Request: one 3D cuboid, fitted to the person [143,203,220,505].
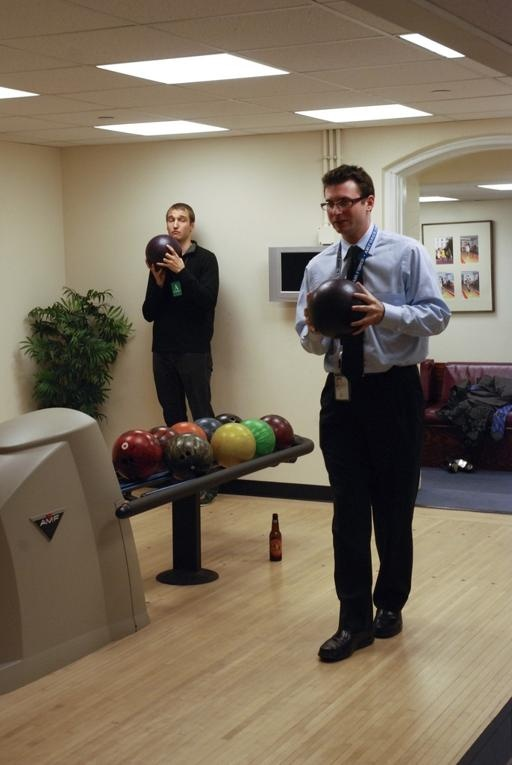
[{"bbox_3d":[-0.677,-0.281,5.511,0.733,2.859,0.703,-2,2,-11],"label":"person"}]

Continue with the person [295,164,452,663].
[{"bbox_3d":[0.546,0.275,2.730,0.632,2.076,0.650,-2,2,-3],"label":"person"}]

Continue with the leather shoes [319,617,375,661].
[{"bbox_3d":[0.475,1.232,2.857,0.116,0.134,0.352,-2,3,44],"label":"leather shoes"}]

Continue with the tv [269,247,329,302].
[{"bbox_3d":[0.350,-1.029,5.485,0.054,0.520,0.543,5,8,-23],"label":"tv"}]
